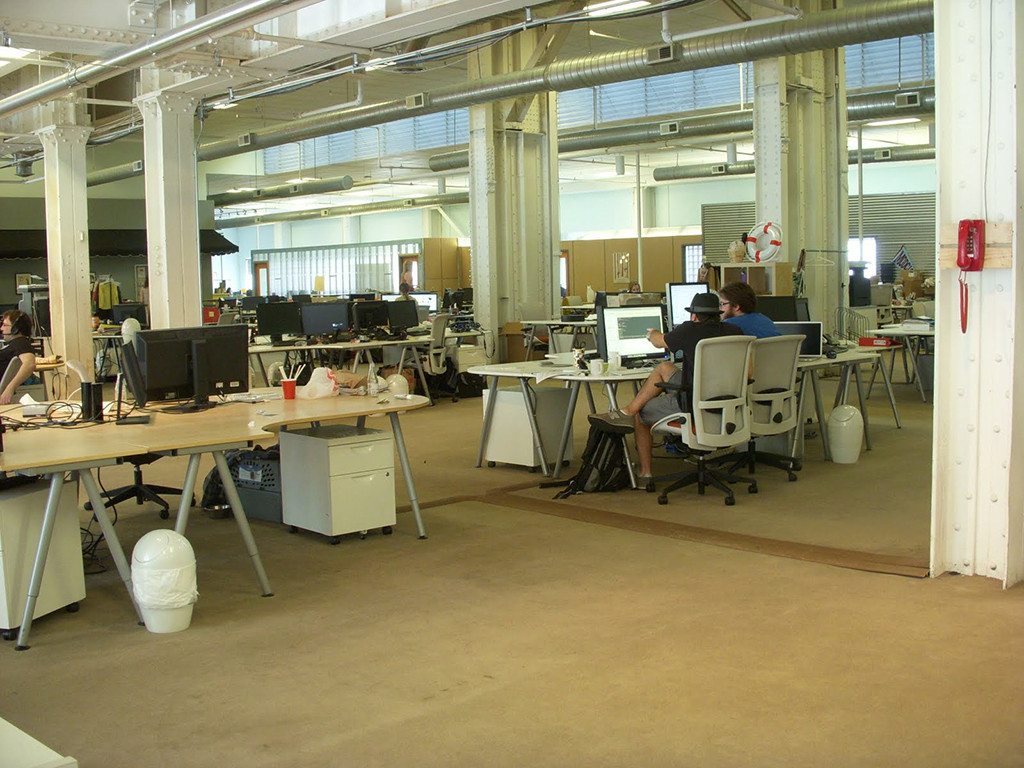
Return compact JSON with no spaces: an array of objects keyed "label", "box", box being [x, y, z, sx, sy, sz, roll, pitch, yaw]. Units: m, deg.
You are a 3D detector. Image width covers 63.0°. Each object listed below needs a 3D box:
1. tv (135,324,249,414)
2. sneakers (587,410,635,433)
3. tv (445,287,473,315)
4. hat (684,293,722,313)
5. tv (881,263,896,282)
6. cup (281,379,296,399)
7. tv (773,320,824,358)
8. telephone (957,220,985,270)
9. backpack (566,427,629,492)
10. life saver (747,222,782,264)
[{"label":"tv","box":[-2.183,-0.094,5.630,0.718,0.387,0.206,-6,16,-28]},{"label":"sneakers","box":[0.789,0.301,6.571,0.322,0.105,0.166,11,-3,15]},{"label":"tv","box":[-1.198,-1.848,18.267,0.617,0.430,0.994,-2,8,-5]},{"label":"hat","box":[1.499,-0.624,6.453,0.256,0.099,0.154,4,2,11]},{"label":"tv","box":[7.566,-2.214,16.620,0.272,0.285,0.458,-10,1,4]},{"label":"cup","box":[-1.605,0.039,6.033,0.155,0.117,0.136,-2,5,-21]},{"label":"tv","box":[2.799,-0.469,8.018,0.600,0.309,0.401,1,3,34]},{"label":"telephone","box":[2.564,-0.772,4.607,0.138,0.276,0.097,2,11,24]},{"label":"backpack","box":[0.722,0.637,6.885,0.606,0.447,0.385,-2,19,-27]},{"label":"life saver","box":[3.378,-1.872,11.062,0.168,0.493,0.609,-7,13,-43]}]
